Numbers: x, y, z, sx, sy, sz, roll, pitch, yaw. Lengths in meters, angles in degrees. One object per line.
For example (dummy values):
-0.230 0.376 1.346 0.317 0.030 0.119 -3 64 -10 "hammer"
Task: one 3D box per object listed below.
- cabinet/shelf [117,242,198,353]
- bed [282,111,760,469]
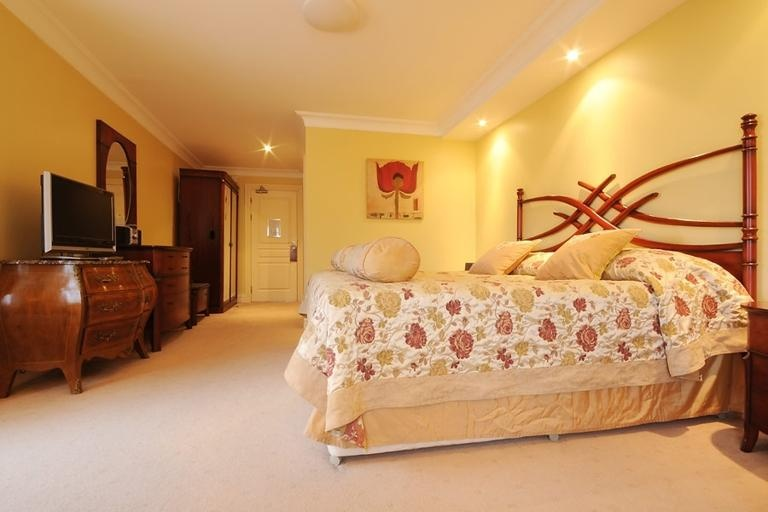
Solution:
-2.250 0.429 4.926 0.489 1.034 1.130 -1 1 -5 "cabinet/shelf"
0.971 0.331 4.011 2.679 1.594 2.624 0 -1 -7 "bed"
